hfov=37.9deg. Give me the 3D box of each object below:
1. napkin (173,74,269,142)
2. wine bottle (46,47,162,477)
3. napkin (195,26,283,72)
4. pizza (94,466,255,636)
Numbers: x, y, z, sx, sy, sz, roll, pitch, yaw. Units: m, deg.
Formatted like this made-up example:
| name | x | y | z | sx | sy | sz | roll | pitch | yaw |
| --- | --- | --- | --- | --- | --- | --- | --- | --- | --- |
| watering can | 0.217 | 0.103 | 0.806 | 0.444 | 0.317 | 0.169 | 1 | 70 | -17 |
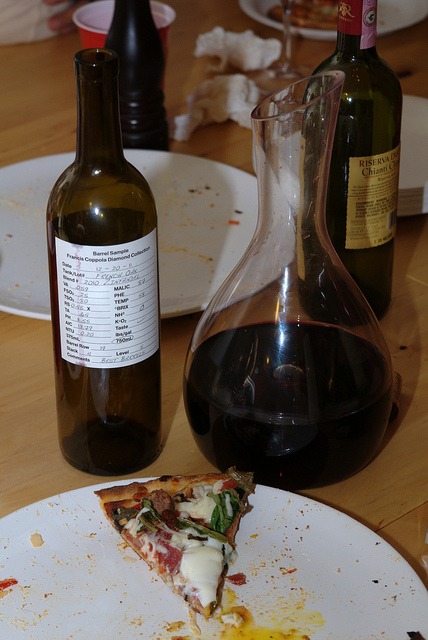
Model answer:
| name | x | y | z | sx | sy | sz | roll | pitch | yaw |
| --- | --- | --- | --- | --- | --- | --- | --- | --- | --- |
| napkin | 0.005 | -0.354 | 1.038 | 0.136 | 0.092 | 0.168 | 3 | 26 | 3 |
| wine bottle | -0.071 | -0.014 | 0.394 | 0.072 | 0.283 | 0.054 | -2 | 28 | -7 |
| napkin | 0.050 | -0.516 | 1.187 | 0.144 | 0.016 | 0.091 | -6 | 67 | -3 |
| pizza | -0.012 | 0.119 | 0.377 | 0.081 | 0.035 | 0.117 | -17 | 31 | -33 |
